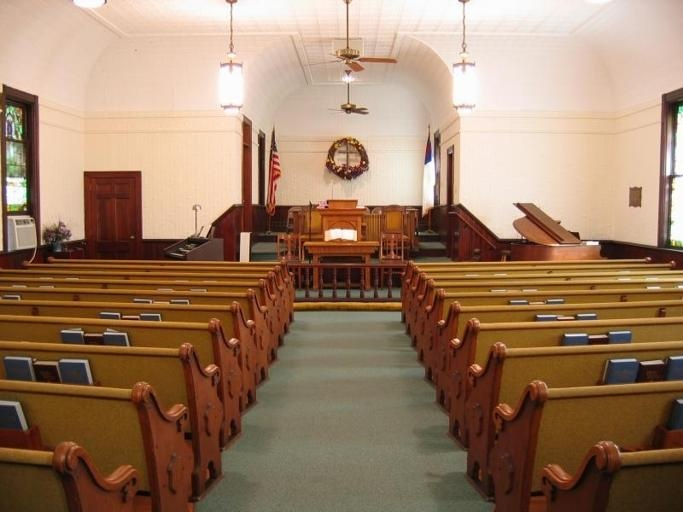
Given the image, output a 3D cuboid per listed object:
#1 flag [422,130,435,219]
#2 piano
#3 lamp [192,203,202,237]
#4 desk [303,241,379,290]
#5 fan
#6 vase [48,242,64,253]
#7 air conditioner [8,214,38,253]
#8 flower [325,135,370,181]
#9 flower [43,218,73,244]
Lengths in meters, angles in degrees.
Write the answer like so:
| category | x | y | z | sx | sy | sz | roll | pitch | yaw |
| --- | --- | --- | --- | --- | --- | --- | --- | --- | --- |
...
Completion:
| category | x | y | z | sx | sy | sz | roll | pitch | yaw |
| --- | --- | --- | --- | --- | --- | --- | --- | --- | --- |
| flag | 2.502 | -2.382 | 14.485 | 0.343 | 2.421 | 1.962 | 4 | 9 | 9 |
| piano | 3.746 | -0.328 | 9.020 | 1.108 | 0.858 | 1.282 | -1 | 2 | 1 |
| lamp | -3.319 | -0.845 | 11.545 | 0.229 | 0.706 | 0.360 | 2 | 9 | 0 |
| desk | -0.004 | 0.157 | 9.825 | 1.423 | 0.998 | 0.875 | 0 | 6 | -1 |
| fan | 0.285 | -4.040 | 9.606 | 1.808 | 2.331 | 2.008 | -2 | 8 | -9 |
| vase | -5.520 | -0.176 | 9.898 | 0.170 | 0.189 | 0.163 | 3 | -2 | -29 |
| air conditioner | -5.758 | -0.406 | 9.184 | 0.317 | 0.675 | 0.656 | 0 | 2 | 3 |
| flower | 0.198 | -3.080 | 16.050 | 1.374 | 1.355 | 0.403 | 3 | 9 | 2 |
| flower | -5.643 | -0.500 | 10.121 | 0.410 | 0.497 | 0.403 | -3 | 5 | -40 |
